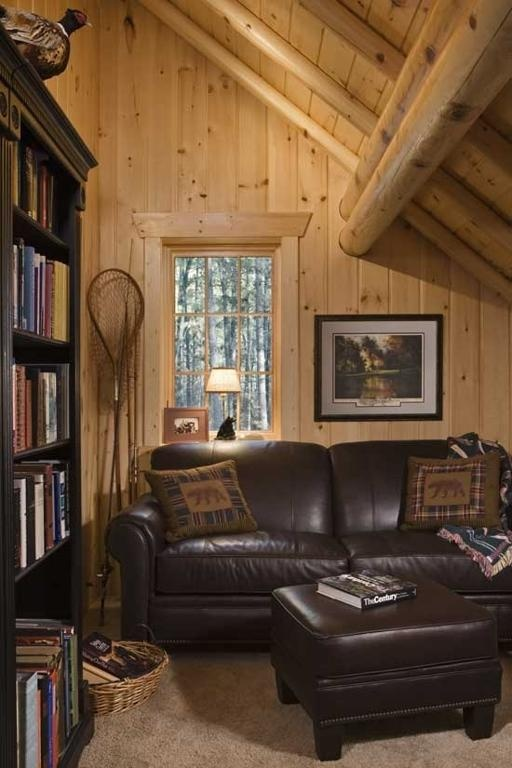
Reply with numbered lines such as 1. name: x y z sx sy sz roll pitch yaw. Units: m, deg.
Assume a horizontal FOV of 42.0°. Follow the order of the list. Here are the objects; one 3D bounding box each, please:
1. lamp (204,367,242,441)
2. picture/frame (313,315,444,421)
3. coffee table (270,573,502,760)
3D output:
1. lamp: -0.189 0.112 3.776 0.188 0.393 0.424 1 1 -2
2. picture/frame: 0.690 -0.076 3.818 0.567 0.520 0.041 0 -3 -1
3. coffee table: 0.445 0.905 2.176 0.701 0.358 0.468 1 1 -17
